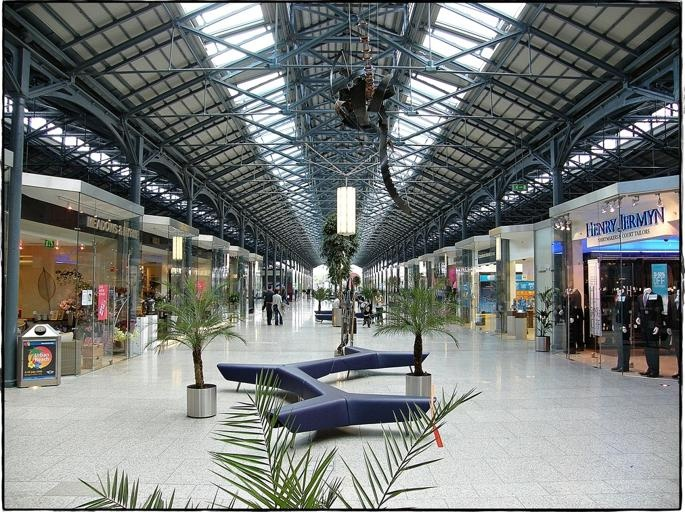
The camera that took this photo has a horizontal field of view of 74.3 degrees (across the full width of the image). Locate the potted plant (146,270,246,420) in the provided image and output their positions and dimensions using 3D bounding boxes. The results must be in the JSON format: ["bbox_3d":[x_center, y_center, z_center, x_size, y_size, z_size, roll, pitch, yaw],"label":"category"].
[{"bbox_3d":[-2.819,1.803,8.496,1.486,2.370,1.314,1,-18,-41],"label":"potted plant"}]

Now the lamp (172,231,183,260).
[{"bbox_3d":[-6.810,-0.279,18.605,0.188,1.018,0.649,-4,-8,16],"label":"lamp"}]

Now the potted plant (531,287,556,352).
[{"bbox_3d":[7.285,2.317,16.316,0.718,2.207,2.237,-5,-8,23],"label":"potted plant"}]

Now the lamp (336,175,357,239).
[{"bbox_3d":[0.070,-1.066,10.708,0.586,1.169,0.597,-12,32,2],"label":"lamp"}]

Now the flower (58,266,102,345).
[{"bbox_3d":[-7.055,1.284,12.195,0.682,1.922,0.954,5,-10,-41],"label":"flower"}]

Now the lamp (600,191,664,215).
[{"bbox_3d":[7.732,-1.361,12.178,0.363,0.448,1.443,4,-10,-38],"label":"lamp"}]

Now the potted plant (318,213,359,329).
[{"bbox_3d":[-0.276,-0.130,22.071,1.567,3.631,1.571,-4,-32,3],"label":"potted plant"}]

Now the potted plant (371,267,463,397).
[{"bbox_3d":[1.601,1.819,9.799,1.696,2.596,1.735,0,-10,4],"label":"potted plant"}]
